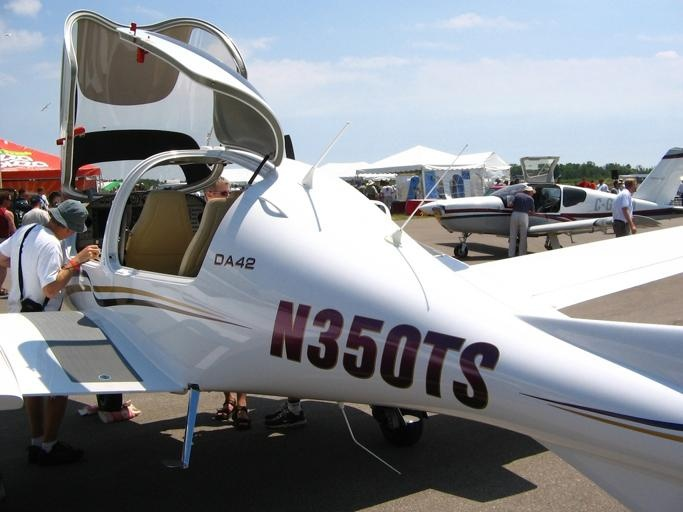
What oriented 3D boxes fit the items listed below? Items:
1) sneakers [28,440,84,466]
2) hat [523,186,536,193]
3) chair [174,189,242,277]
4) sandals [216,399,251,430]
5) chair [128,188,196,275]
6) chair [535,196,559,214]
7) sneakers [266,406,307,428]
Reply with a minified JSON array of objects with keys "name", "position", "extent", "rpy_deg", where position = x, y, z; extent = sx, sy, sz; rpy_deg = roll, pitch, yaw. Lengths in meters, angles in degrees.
[{"name":"sneakers","position":[-2.205,1.503,4.317],"extent":[0.332,0.155,0.171],"rpy_deg":[1,-2,-16]},{"name":"hat","position":[4.591,-1.588,13.634],"extent":[0.291,0.156,0.215],"rpy_deg":[22,18,3]},{"name":"chair","position":[-0.853,-0.175,4.116],"extent":[0.178,0.750,0.388],"rpy_deg":[32,-18,-17]},{"name":"sandals","position":[-0.953,1.398,4.959],"extent":[0.154,0.108,0.390],"rpy_deg":[-3,4,-40]},{"name":"chair","position":[-1.717,-0.263,5.244],"extent":[0.636,0.900,0.770],"rpy_deg":[3,23,-20]},{"name":"chair","position":[5.177,-1.268,14.090],"extent":[0.416,0.214,0.593],"rpy_deg":[-2,1,24]},{"name":"sneakers","position":[-0.504,1.413,4.897],"extent":[0.289,0.134,0.170],"rpy_deg":[4,-2,-1]}]
